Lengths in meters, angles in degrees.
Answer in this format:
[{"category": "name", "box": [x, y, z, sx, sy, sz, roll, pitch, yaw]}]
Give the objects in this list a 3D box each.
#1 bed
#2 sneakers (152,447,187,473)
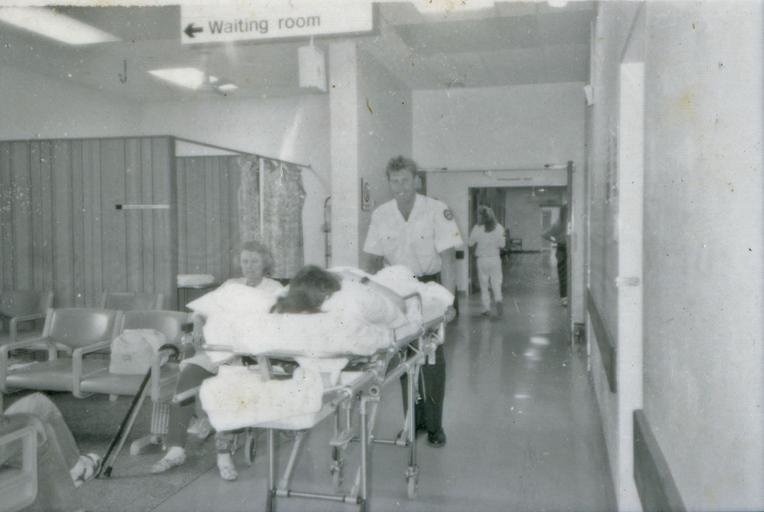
[{"category": "bed", "box": [-0.181, 0.380, 2.852, 0.906, 0.912, 1.341, 2, 4, 12]}, {"category": "sneakers", "box": [-0.975, 0.943, 3.270, 0.192, 0.078, 0.064, -11, 5, -42]}]
